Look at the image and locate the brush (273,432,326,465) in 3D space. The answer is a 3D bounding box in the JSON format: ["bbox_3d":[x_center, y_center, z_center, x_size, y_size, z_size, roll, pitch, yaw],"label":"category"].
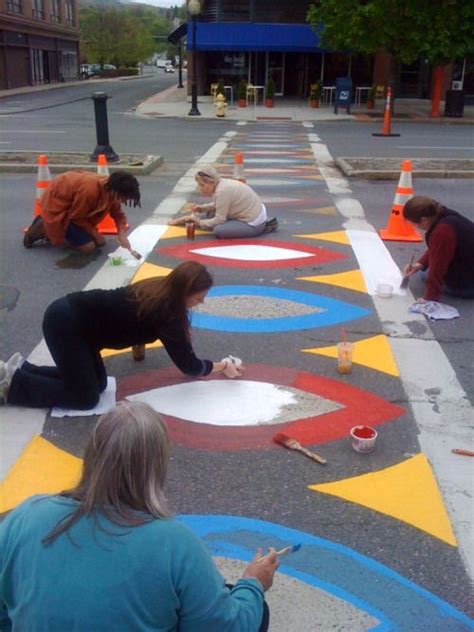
[{"bbox_3d":[0.364,0.797,3.184,0.418,0.044,0.108,21,32,39],"label":"brush"}]

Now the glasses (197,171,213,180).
[{"bbox_3d":[-0.439,-1.932,7.055,0.145,0.040,0.136,7,8,-37],"label":"glasses"}]

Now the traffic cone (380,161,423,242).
[{"bbox_3d":[2.531,-1.764,7.756,0.812,1.058,0.771,1,23,5],"label":"traffic cone"}]

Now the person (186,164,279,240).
[{"bbox_3d":[-0.067,-1.662,7.603,1.409,0.854,0.950,2,26,1],"label":"person"}]
